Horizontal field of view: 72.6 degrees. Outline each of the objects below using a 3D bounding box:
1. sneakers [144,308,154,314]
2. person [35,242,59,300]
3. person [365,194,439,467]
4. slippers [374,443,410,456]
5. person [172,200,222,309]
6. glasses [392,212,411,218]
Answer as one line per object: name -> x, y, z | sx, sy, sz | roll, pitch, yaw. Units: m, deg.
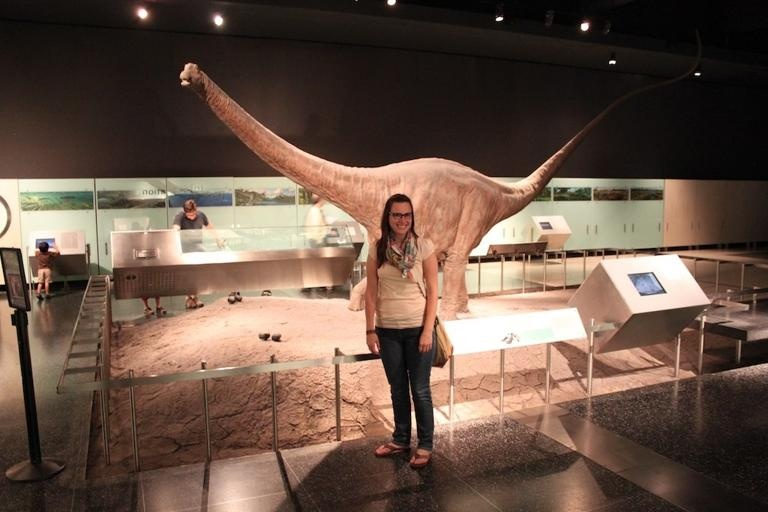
sneakers -> -3.485, 0.771, 7.304 | 0.115, 0.064, 0.122 | -8, 16, -23
person -> -6.263, 0.212, 9.156 | 0.448, 0.897, 0.859 | -12, 17, -36
person -> 0.108, 0.542, 3.854 | 0.569, 1.934, 0.497 | 0, 14, 7
slippers -> 0.042, 1.471, 3.974 | 0.191, 0.059, 0.116 | 3, -8, -7
person -> -2.685, 0.091, 7.082 | 0.507, 1.504, 2.301 | -7, 15, -21
glasses -> 0.116, -0.288, 3.747 | 0.147, 0.036, 0.035 | 0, 14, 5
